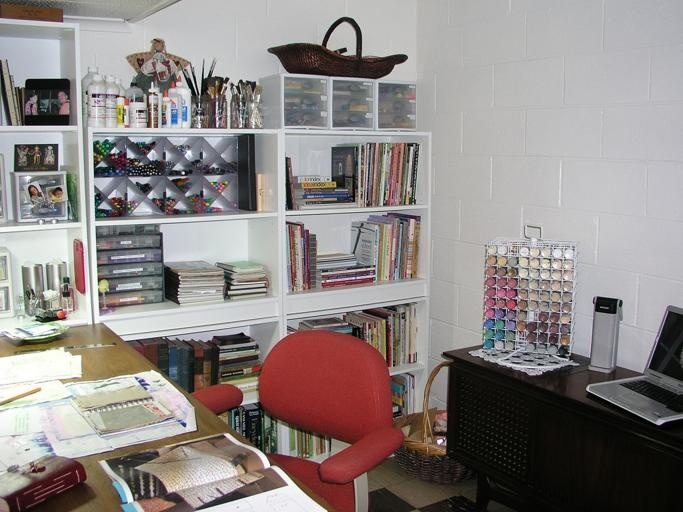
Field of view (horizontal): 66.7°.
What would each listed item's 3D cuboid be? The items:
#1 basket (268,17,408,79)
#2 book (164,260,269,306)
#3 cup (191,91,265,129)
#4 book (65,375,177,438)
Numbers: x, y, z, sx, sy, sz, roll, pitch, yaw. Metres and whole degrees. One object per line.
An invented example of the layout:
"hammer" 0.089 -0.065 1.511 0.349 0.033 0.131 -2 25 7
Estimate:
"basket" -0.001 -1.190 3.030 0.834 0.326 0.355 -3 13 -29
"book" -0.668 0.146 2.778 0.324 0.102 0.319 5 5 39
"cup" -0.601 -0.736 2.715 0.277 0.154 0.200 2 4 26
"book" -0.712 0.472 1.691 0.284 0.022 0.380 -4 14 -31
